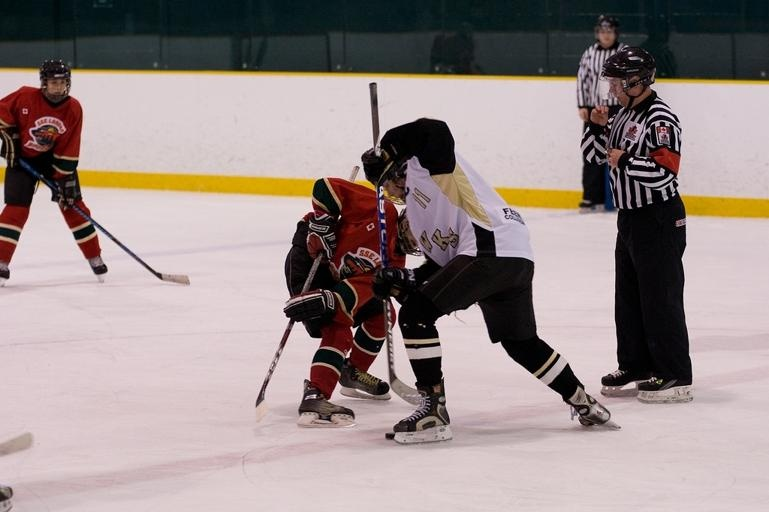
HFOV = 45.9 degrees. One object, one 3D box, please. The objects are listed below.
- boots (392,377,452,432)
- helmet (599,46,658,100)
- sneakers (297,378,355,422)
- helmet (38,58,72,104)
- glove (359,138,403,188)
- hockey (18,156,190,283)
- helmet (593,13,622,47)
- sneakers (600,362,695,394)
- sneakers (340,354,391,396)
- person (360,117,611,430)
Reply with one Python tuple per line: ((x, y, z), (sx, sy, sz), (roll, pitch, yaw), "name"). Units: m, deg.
((0.141, 0.647, 3.846), (0.314, 0.224, 0.105), (4, -7, -41), "boots")
((1.136, -0.867, 4.323), (0.306, 0.240, 0.221), (-10, 25, -14), "helmet")
((-0.236, 0.648, 4.014), (0.320, 0.208, 0.109), (-7, -9, 32), "sneakers")
((-2.276, -1.194, 6.254), (0.197, 0.281, 0.253), (-5, 16, -19), "helmet")
((-0.029, -0.395, 3.933), (0.199, 0.155, 0.141), (-20, 26, -20), "glove")
((-2.401, -0.294, 7.827), (0.246, 1.860, 0.206), (-48, 5, 23), "hockey")
((2.194, -2.192, 8.963), (0.321, 0.342, 0.350), (-2, -14, 12), "helmet")
((1.240, 0.592, 4.379), (0.465, 0.177, 0.135), (0, 0, 0), "sneakers")
((-0.112, 0.611, 4.457), (0.297, 0.167, 0.123), (1, 5, 4), "sneakers")
((0.391, 0.082, 3.921), (0.917, 1.326, 0.469), (-3, 16, -9), "person")
